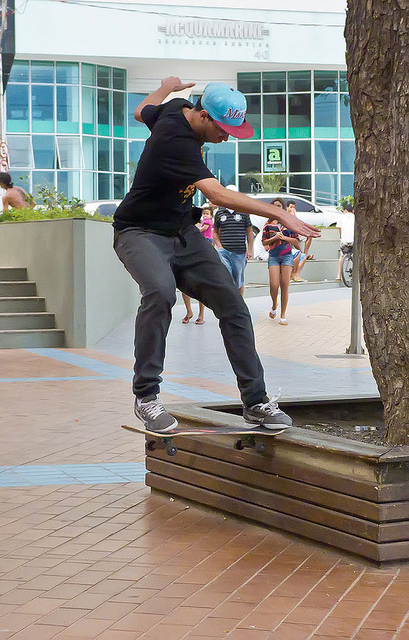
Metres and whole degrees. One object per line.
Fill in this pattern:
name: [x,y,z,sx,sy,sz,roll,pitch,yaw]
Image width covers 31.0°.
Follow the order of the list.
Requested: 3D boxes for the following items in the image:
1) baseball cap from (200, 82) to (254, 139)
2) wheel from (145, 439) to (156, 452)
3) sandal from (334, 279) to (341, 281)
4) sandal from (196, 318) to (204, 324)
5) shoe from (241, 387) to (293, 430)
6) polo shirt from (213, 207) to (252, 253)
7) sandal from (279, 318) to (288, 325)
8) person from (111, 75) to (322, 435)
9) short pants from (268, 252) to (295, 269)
baseball cap: [0.132,-1.016,3.556,0.313,0.169,0.212,39,37,14]
wheel: [-0.299,0.669,3.968,0.080,0.075,0.020,0,17,28]
sandal: [3.880,-1.159,21.566,0.174,0.034,0.158,1,2,-3]
sandal: [-0.091,0.035,13.558,0.115,0.113,0.310,0,-2,4]
shoe: [0.322,0.447,3.654,0.149,0.166,0.411,-7,1,-23]
polo shirt: [0.468,-1.475,12.248,0.689,0.792,0.312,-4,12,8]
sandal: [1.373,0.041,12.997,0.121,0.100,0.299,0,-3,-5]
person: [-0.014,-0.326,3.688,1.026,1.739,0.643,0,4,24]
short pants: [1.247,-0.986,12.262,0.384,0.233,0.234,0,5,3]
